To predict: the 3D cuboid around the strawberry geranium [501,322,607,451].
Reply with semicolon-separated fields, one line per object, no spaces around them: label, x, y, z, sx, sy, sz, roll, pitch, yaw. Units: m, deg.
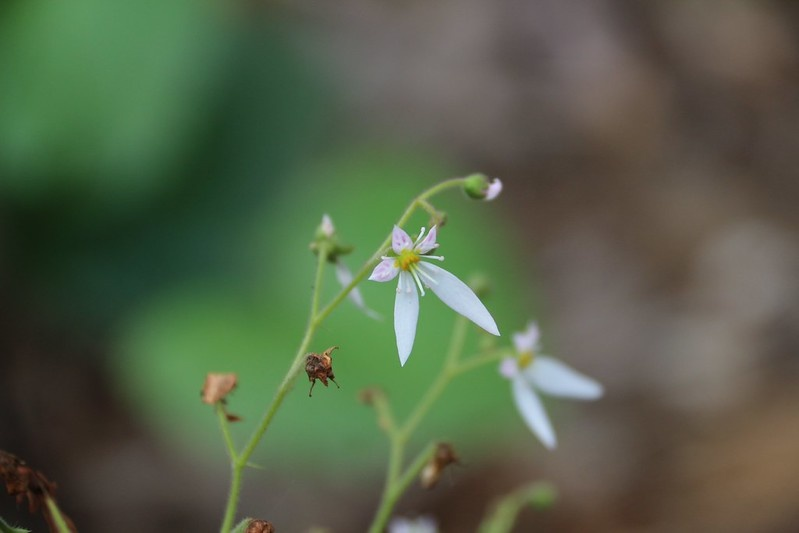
strawberry geranium;0.448;0.338;2.180;0.351;0.345;0.118;5;-7;-27
